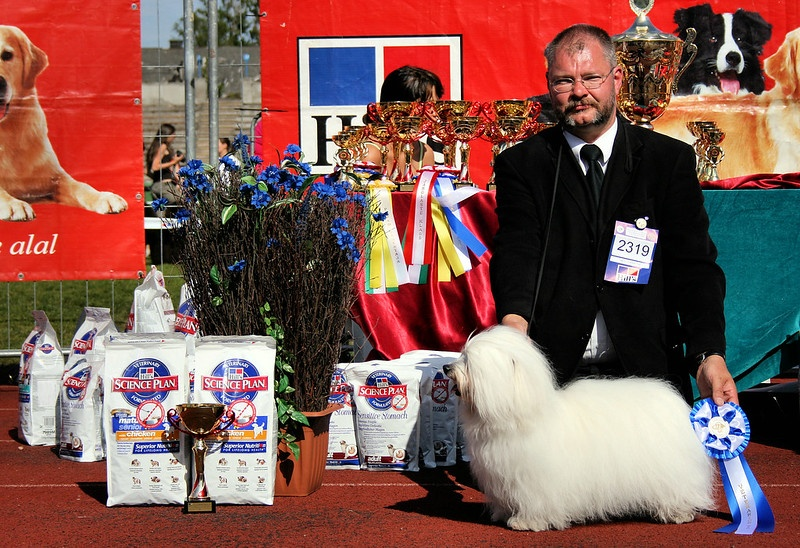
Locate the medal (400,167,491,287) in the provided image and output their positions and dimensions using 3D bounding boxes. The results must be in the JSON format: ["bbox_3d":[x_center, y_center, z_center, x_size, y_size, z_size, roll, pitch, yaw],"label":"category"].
[{"bbox_3d":[0.301,-0.325,9.485,0.585,0.719,0.268,-1,9,-1],"label":"medal"}]

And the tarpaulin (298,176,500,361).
[{"bbox_3d":[0.111,-0.001,9.478,1.053,1.091,0.994,4,19,18],"label":"tarpaulin"}]

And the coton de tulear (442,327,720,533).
[{"bbox_3d":[0.991,0.845,7.892,1.482,1.169,0.247,-2,9,-4],"label":"coton de tulear"}]
